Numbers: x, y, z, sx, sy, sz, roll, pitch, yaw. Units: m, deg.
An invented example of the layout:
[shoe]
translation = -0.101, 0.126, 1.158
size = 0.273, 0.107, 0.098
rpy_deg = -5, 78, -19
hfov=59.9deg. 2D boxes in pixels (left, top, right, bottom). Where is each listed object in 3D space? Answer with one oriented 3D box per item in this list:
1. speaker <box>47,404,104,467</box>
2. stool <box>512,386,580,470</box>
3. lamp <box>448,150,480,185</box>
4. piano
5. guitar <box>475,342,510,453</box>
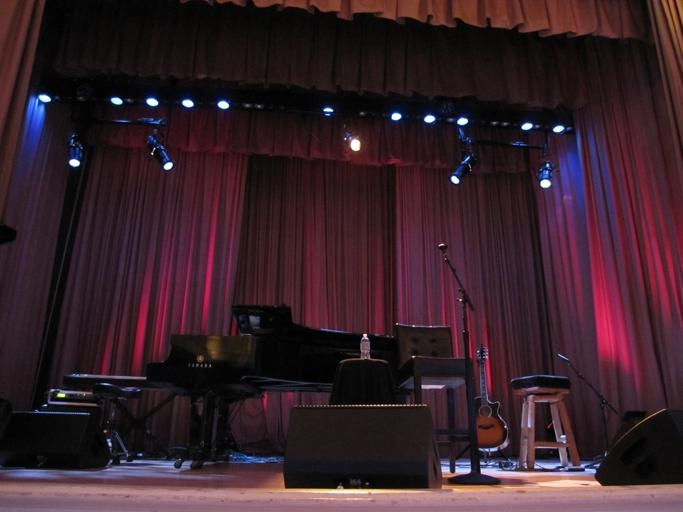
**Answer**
[speaker]
translation = -2.179, 1.498, 4.868
size = 0.400, 0.433, 0.313
rpy_deg = -4, -16, 8
[stool]
translation = 2.153, 1.788, 6.177
size = 0.579, 0.792, 1.895
rpy_deg = -3, -14, 21
[lamp]
translation = 1.706, -1.181, 8.186
size = 0.325, 0.582, 0.747
rpy_deg = -1, -13, 12
[piano]
translation = -0.659, 1.228, 6.158
size = 2.160, 1.523, 1.680
rpy_deg = 2, -22, -4
[guitar]
translation = 1.806, 1.737, 7.164
size = 0.344, 1.315, 0.892
rpy_deg = -1, -13, 13
